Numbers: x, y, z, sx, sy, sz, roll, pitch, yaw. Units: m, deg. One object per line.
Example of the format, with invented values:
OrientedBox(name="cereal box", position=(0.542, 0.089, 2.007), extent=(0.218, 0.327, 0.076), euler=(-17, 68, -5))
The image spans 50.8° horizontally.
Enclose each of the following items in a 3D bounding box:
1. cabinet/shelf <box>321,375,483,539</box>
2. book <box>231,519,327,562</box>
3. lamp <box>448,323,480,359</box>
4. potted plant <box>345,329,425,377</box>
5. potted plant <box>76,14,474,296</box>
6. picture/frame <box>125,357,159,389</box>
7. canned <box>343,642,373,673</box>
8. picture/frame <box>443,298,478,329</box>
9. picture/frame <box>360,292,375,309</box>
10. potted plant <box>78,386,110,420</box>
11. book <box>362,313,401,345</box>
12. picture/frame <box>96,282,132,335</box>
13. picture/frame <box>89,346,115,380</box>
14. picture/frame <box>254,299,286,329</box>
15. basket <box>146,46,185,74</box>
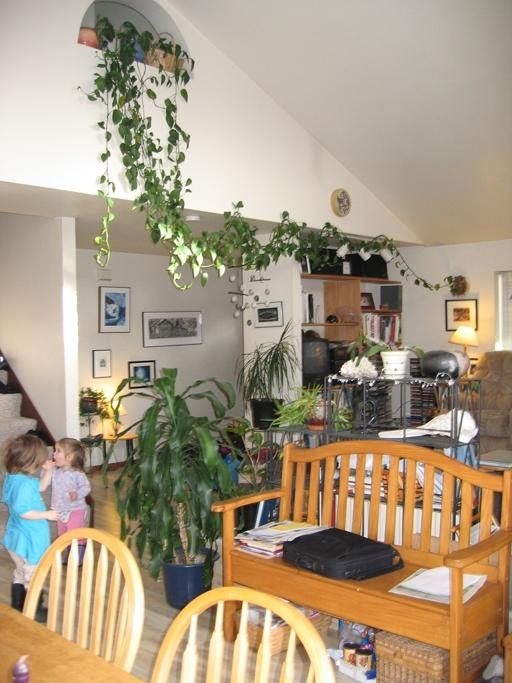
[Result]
OrientedBox(name="cabinet/shelf", position=(0.688, 0.560, 2.617), extent=(0.813, 0.741, 0.266), euler=(3, 5, 39))
OrientedBox(name="book", position=(0.101, 0.817, 2.209), extent=(0.255, 0.079, 0.266), euler=(4, 7, 36))
OrientedBox(name="lamp", position=(2.413, -0.031, 6.226), extent=(0.322, 0.473, 0.323), euler=(-16, 21, -40))
OrientedBox(name="potted plant", position=(1.048, 0.077, 4.452), extent=(0.844, 0.344, 0.561), euler=(7, -6, -35))
OrientedBox(name="potted plant", position=(-0.057, -1.455, 4.983), extent=(0.839, 2.066, 3.609), euler=(0, 2, 38))
OrientedBox(name="picture/frame", position=(-1.323, 0.342, 6.106), extent=(0.030, 0.363, 0.458), euler=(-3, -2, 37))
OrientedBox(name="canned", position=(0.391, 1.231, 2.126), extent=(0.088, 0.093, 0.084), euler=(0, -3, -21))
OrientedBox(name="picture/frame", position=(2.640, -0.366, 6.934), extent=(0.391, 0.399, 0.019), euler=(7, 7, 43))
OrientedBox(name="picture/frame", position=(1.450, -0.545, 7.128), extent=(0.282, 0.268, 0.021), euler=(3, -10, -43))
OrientedBox(name="potted plant", position=(-1.905, 0.714, 6.334), extent=(0.330, 0.330, 0.471), euler=(-2, 2, -18))
OrientedBox(name="book", position=(1.481, -0.167, 6.464), extent=(0.443, 0.404, 0.246), euler=(1, -2, -39))
OrientedBox(name="picture/frame", position=(-1.803, -0.425, 6.724), extent=(0.069, 0.868, 0.690), euler=(3, 3, 41))
OrientedBox(name="picture/frame", position=(-1.916, 0.254, 6.626), extent=(0.057, 0.551, 0.443), euler=(2, 2, 41))
OrientedBox(name="picture/frame", position=(0.155, -0.299, 5.763), extent=(0.341, 0.245, 0.014), euler=(0, -3, 41))
OrientedBox(name="basket", position=(-0.685, -2.088, 3.989), extent=(0.199, 0.068, 0.141), euler=(-8, 39, -33))
